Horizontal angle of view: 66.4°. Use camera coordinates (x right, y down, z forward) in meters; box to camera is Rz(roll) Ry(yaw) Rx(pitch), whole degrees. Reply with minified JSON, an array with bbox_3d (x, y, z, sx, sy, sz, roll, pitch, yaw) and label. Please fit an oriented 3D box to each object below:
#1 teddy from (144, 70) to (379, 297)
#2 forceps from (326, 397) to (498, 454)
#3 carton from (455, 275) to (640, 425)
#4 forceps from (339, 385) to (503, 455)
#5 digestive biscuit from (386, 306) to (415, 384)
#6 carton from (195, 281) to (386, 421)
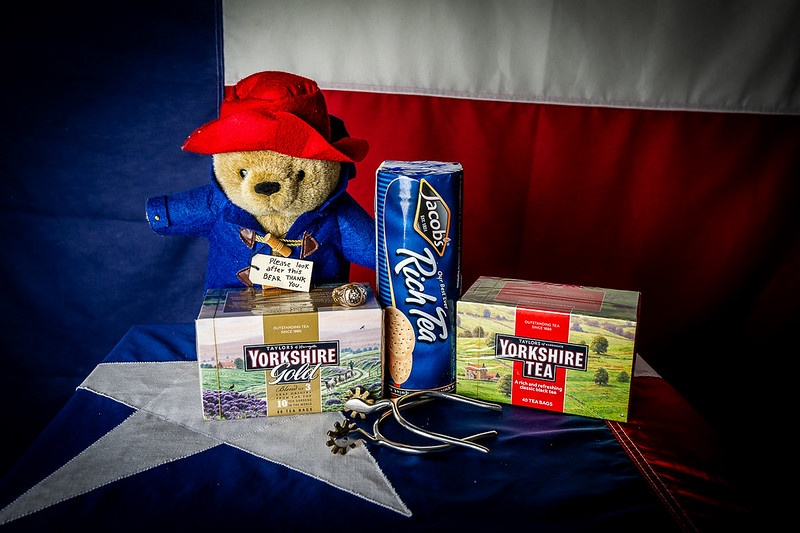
[{"bbox_3d":[-0.290,-0.138,1.503,0.668,0.642,0.368,6,27,2],"label":"teddy"},{"bbox_3d":[0.019,0.312,1.194,0.265,0.067,0.131,3,18,6],"label":"forceps"},{"bbox_3d":[0.325,0.137,1.307,0.336,0.273,0.204,3,10,19],"label":"carton"},{"bbox_3d":[0.055,0.323,1.218,0.338,0.079,0.175,-1,2,6],"label":"forceps"},{"bbox_3d":[-0.007,0.166,1.264,0.063,0.174,0.024,1,4,22],"label":"digestive biscuit"},{"bbox_3d":[-0.217,0.182,1.215,0.341,0.246,0.163,-5,12,-21],"label":"carton"}]
